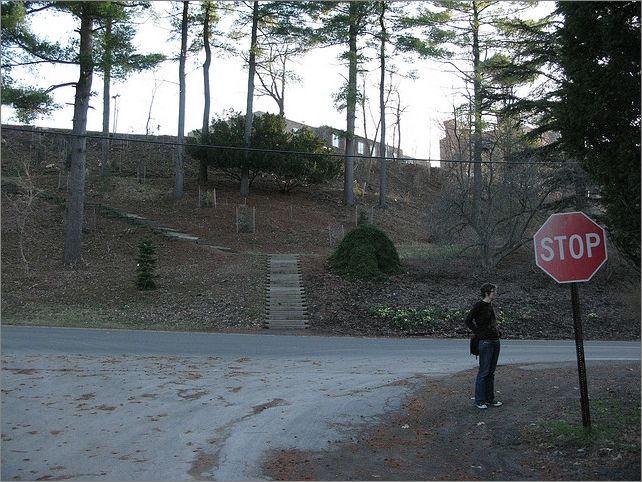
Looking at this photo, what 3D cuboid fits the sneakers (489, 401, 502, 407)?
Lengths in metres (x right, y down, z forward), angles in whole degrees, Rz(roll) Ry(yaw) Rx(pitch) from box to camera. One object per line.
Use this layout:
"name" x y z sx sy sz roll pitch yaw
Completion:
"sneakers" 4.042 3.759 17.758 0.307 0.110 0.108 -3 6 -4

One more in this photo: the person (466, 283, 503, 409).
"person" 3.844 2.444 17.963 0.820 2.829 0.895 1 1 12
